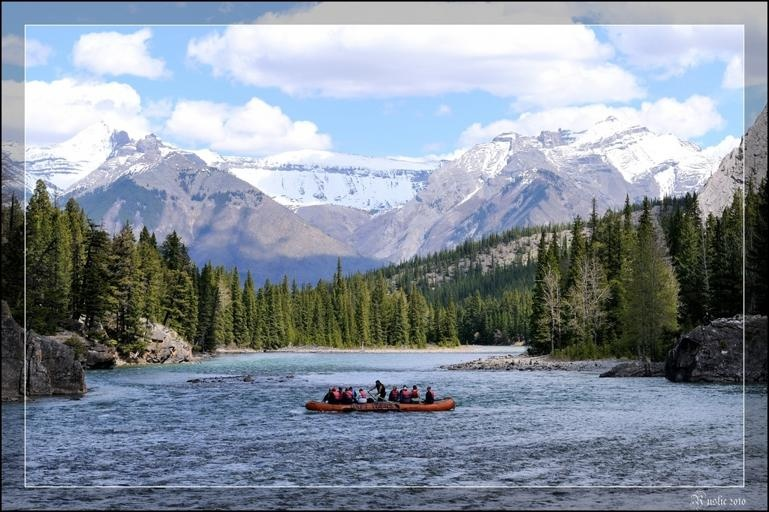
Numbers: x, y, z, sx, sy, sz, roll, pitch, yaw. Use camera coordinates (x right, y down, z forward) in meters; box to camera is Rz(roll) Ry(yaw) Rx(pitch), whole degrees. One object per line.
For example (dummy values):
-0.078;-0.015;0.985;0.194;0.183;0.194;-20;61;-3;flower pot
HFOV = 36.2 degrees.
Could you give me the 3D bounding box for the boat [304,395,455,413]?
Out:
-0.377;16.341;128.497;15.344;1.684;3.412;-1;-8;-11;boat
